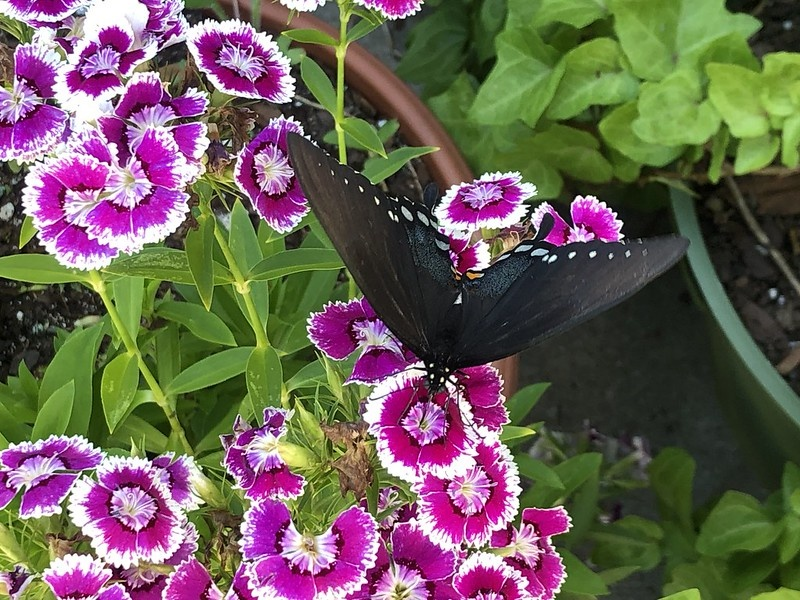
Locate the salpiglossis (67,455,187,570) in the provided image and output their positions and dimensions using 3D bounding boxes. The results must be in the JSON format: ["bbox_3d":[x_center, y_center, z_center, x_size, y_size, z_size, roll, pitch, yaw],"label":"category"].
[{"bbox_3d":[-0.521,0.415,1.667,0.235,0.096,0.250,16,23,-44],"label":"salpiglossis"}]

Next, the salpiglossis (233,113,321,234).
[{"bbox_3d":[-0.247,-0.250,1.714,0.082,0.200,0.223,8,82,36],"label":"salpiglossis"}]

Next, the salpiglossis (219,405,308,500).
[{"bbox_3d":[-0.258,0.305,1.651,0.139,0.066,0.177,-18,64,-1],"label":"salpiglossis"}]

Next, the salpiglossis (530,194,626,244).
[{"bbox_3d":[0.339,-0.137,1.739,0.126,0.153,0.051,-7,61,-11],"label":"salpiglossis"}]

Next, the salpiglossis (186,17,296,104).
[{"bbox_3d":[-0.312,-0.462,1.723,0.187,0.074,0.151,-11,65,-15],"label":"salpiglossis"}]

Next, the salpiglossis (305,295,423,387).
[{"bbox_3d":[-0.067,0.083,1.735,0.193,0.060,0.231,26,44,15],"label":"salpiglossis"}]

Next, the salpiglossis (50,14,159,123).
[{"bbox_3d":[-0.560,-0.450,1.658,0.184,0.059,0.204,42,73,-10],"label":"salpiglossis"}]

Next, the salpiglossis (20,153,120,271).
[{"bbox_3d":[-0.594,-0.146,1.602,0.178,0.141,0.171,7,60,-5],"label":"salpiglossis"}]

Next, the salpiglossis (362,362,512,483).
[{"bbox_3d":[0.049,0.240,1.592,0.247,0.076,0.326,-6,31,21],"label":"salpiglossis"}]
